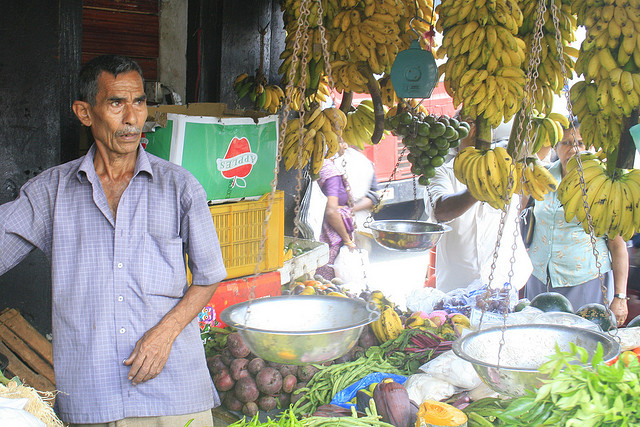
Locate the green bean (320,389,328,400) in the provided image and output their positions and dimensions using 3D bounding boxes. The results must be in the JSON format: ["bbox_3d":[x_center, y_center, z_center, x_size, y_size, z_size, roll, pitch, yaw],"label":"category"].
[{"bbox_3d":[0.021,0.966,3.018,0.014,0.059,0.016,42,-44,-18],"label":"green bean"}]

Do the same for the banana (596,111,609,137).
[{"bbox_3d":[1.404,-0.443,2.823,0.038,0.133,0.042,-7,4,-14],"label":"banana"}]

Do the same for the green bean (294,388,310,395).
[{"bbox_3d":[-0.102,0.949,3.022,0.116,0.028,0.035,-5,7,-12],"label":"green bean"}]

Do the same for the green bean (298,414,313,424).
[{"bbox_3d":[-0.056,0.836,2.274,0.025,0.026,0.086,5,17,22],"label":"green bean"}]

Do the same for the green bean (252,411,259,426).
[{"bbox_3d":[-0.215,0.699,1.917,0.009,0.041,0.011,14,-15,39],"label":"green bean"}]

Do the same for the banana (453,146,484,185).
[{"bbox_3d":[0.802,-0.255,3.033,0.053,0.173,0.166,11,9,-21],"label":"banana"}]

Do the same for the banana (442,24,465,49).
[{"bbox_3d":[0.687,-0.922,2.950,0.042,0.157,0.056,29,1,31],"label":"banana"}]

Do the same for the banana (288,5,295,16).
[{"bbox_3d":[-0.175,-1.236,3.439,0.031,0.009,0.041,20,-37,4],"label":"banana"}]

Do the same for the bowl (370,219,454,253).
[{"bbox_3d":[0.519,0.146,3.426,0.484,0.168,0.478,-1,7,0],"label":"bowl"}]

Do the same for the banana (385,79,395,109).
[{"bbox_3d":[0.435,-0.728,3.448,0.044,0.167,0.052,-7,-5,31],"label":"banana"}]

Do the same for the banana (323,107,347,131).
[{"bbox_3d":[0.094,-0.532,3.123,0.067,0.119,0.213,9,2,-8],"label":"banana"}]

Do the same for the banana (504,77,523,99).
[{"bbox_3d":[0.979,-0.634,2.889,0.039,0.140,0.048,-46,2,37],"label":"banana"}]

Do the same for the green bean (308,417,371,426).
[{"bbox_3d":[0.078,0.905,2.456,0.293,0.031,0.048,13,14,-24],"label":"green bean"}]

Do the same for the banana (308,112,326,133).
[{"bbox_3d":[-0.009,-0.520,3.210,0.068,0.104,0.029,31,-27,10],"label":"banana"}]

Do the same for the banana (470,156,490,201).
[{"bbox_3d":[0.806,-0.181,2.938,0.057,0.199,0.155,-12,-6,-19],"label":"banana"}]

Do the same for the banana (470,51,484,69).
[{"bbox_3d":[0.798,-0.773,2.902,0.031,0.105,0.038,30,-6,9],"label":"banana"}]

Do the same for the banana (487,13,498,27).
[{"bbox_3d":[0.859,-0.964,2.829,0.032,0.070,0.023,-28,-15,13],"label":"banana"}]

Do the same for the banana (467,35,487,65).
[{"bbox_3d":[0.781,-0.814,2.865,0.051,0.174,0.058,28,-19,18],"label":"banana"}]

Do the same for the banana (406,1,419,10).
[{"bbox_3d":[0.544,-1.204,3.272,0.093,0.051,0.042,-5,8,-30],"label":"banana"}]

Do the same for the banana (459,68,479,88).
[{"bbox_3d":[0.747,-0.695,2.865,0.047,0.137,0.048,33,-3,27],"label":"banana"}]

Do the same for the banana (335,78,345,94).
[{"bbox_3d":[0.117,-0.759,3.382,0.039,0.074,0.136,3,-10,3],"label":"banana"}]

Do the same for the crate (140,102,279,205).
[{"bbox_3d":[-0.608,-0.339,3.294,0.415,0.506,0.738,12,16,38],"label":"crate"}]

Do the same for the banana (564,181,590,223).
[{"bbox_3d":[1.246,-0.064,2.750,0.067,0.201,0.053,34,-2,-25],"label":"banana"}]

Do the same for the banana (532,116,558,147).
[{"bbox_3d":[1.187,-0.439,2.994,0.126,0.153,0.088,2,8,23],"label":"banana"}]

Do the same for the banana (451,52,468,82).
[{"bbox_3d":[0.711,-0.757,2.914,0.048,0.156,0.045,-1,-17,36],"label":"banana"}]

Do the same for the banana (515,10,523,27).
[{"bbox_3d":[1.009,-1.003,2.882,0.019,0.057,0.041,0,16,27],"label":"banana"}]

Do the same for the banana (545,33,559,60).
[{"bbox_3d":[1.184,-0.856,2.892,0.042,0.162,0.051,-21,21,-26],"label":"banana"}]

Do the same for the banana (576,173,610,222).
[{"bbox_3d":[1.338,-0.092,2.868,0.153,0.325,0.190,-7,-3,37],"label":"banana"}]

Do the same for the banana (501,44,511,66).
[{"bbox_3d":[0.934,-0.792,2.847,0.029,0.113,0.037,-5,6,18],"label":"banana"}]

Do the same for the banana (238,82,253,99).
[{"bbox_3d":[-0.515,-0.845,3.856,0.053,0.152,0.041,15,33,-53],"label":"banana"}]

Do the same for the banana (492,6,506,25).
[{"bbox_3d":[0.890,-0.985,2.814,0.032,0.109,0.031,-19,-17,7],"label":"banana"}]

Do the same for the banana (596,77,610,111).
[{"bbox_3d":[1.381,-0.587,2.779,0.045,0.156,0.051,9,-16,16],"label":"banana"}]

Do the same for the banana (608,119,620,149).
[{"bbox_3d":[1.446,-0.395,2.792,0.043,0.128,0.033,-7,-7,43],"label":"banana"}]

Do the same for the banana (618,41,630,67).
[{"bbox_3d":[1.460,-0.762,2.725,0.033,0.123,0.040,4,-6,-13],"label":"banana"}]

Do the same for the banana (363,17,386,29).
[{"bbox_3d":[0.308,-1.061,3.159,0.116,0.055,0.041,20,-20,14],"label":"banana"}]

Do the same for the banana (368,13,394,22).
[{"bbox_3d":[0.344,-1.089,3.186,0.152,0.052,0.040,0,-4,25],"label":"banana"}]

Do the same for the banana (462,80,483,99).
[{"bbox_3d":[0.758,-0.623,2.856,0.045,0.132,0.046,39,-4,20],"label":"banana"}]

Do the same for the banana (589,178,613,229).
[{"bbox_3d":[1.377,-0.049,2.777,0.051,0.221,0.074,16,-12,7],"label":"banana"}]

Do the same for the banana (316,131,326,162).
[{"bbox_3d":[0.004,-0.376,3.174,0.044,0.169,0.055,2,-16,-21],"label":"banana"}]

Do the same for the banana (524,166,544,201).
[{"bbox_3d":[1.118,-0.166,2.960,0.058,0.177,0.052,-21,9,-5],"label":"banana"}]

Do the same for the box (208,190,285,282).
[{"bbox_3d":[-0.404,0.114,3.506,0.357,0.449,0.604,-5,2,-2],"label":"box"}]

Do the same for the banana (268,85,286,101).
[{"bbox_3d":[-0.289,-0.832,3.869,0.042,0.075,0.128,-10,-45,26],"label":"banana"}]
